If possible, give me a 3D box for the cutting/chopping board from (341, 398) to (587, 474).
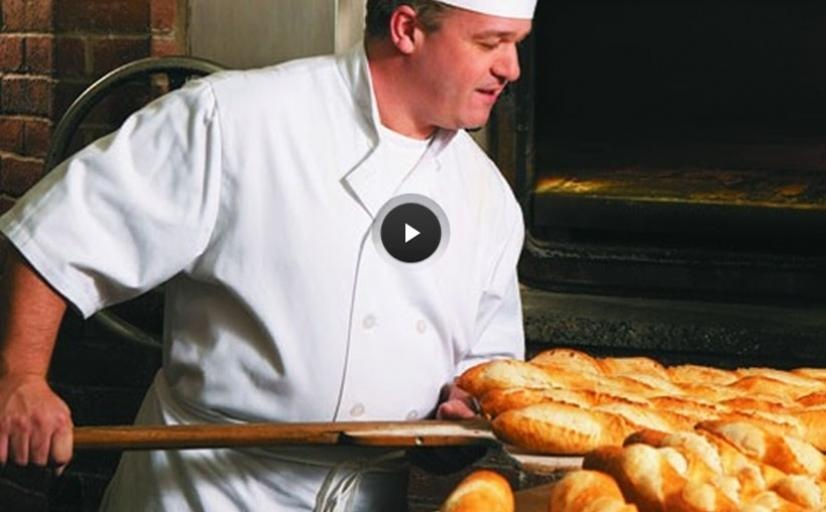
[{"bbox_3d":[0.098,0.366,2.135,0.380,0.061,0.189,-1,6,1],"label":"cutting/chopping board"}]
